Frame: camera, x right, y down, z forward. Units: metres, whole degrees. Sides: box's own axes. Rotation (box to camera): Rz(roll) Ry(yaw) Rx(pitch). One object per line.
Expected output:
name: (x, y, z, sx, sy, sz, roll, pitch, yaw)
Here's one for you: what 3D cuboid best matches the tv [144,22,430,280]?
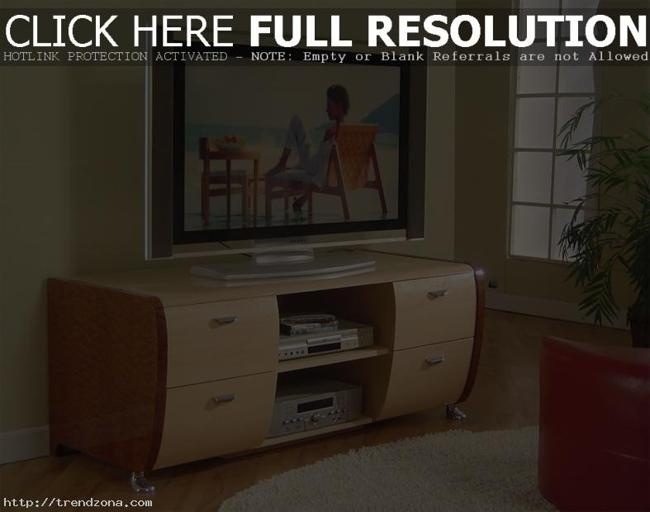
tv: (-0.198, -0.464, 2.503, 1.077, 0.758, 0.047, -5, 6, -35)
